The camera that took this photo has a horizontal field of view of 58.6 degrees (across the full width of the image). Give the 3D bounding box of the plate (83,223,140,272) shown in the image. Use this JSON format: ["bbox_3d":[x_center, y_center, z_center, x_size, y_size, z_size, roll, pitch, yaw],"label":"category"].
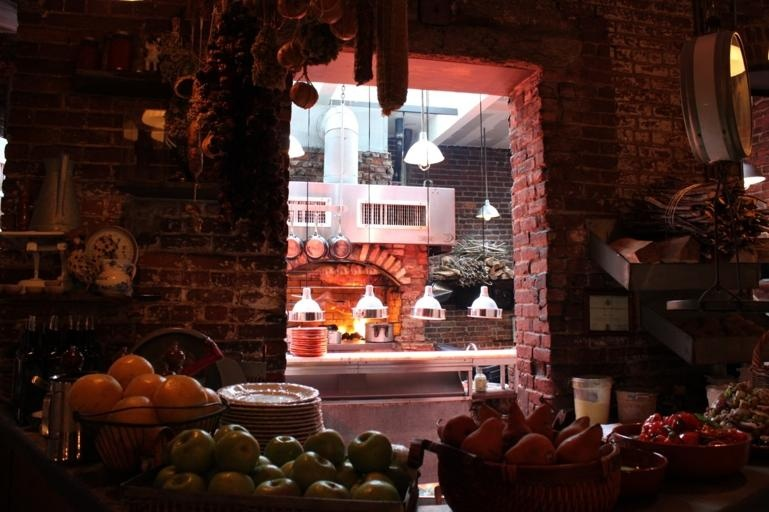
[{"bbox_3d":[-1.321,-0.035,3.290,0.263,0.243,0.042,4,-1,-22],"label":"plate"}]

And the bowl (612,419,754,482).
[{"bbox_3d":[1.632,0.879,3.711,0.528,0.378,0.503,7,-22,3],"label":"bowl"}]

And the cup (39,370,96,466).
[{"bbox_3d":[-1.003,0.524,2.176,0.137,0.317,0.266,0,2,-34],"label":"cup"}]

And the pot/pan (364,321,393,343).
[{"bbox_3d":[-0.066,0.782,7.081,0.203,0.141,0.252,0,0,2],"label":"pot/pan"}]

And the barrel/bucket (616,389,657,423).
[{"bbox_3d":[1.347,0.809,3.700,0.194,0.140,0.201,1,-3,0],"label":"barrel/bucket"}]

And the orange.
[{"bbox_3d":[-0.733,0.458,2.169,0.425,0.328,0.265,4,4,30],"label":"orange"}]

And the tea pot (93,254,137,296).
[{"bbox_3d":[-1.276,0.091,3.238,0.197,0.172,0.149,7,-20,-30],"label":"tea pot"}]

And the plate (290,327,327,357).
[{"bbox_3d":[-0.576,0.642,5.175,0.231,0.156,0.224,0,-6,9],"label":"plate"}]

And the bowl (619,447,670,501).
[{"bbox_3d":[0.828,0.693,2.187,0.143,0.133,0.234,0,-4,21],"label":"bowl"}]

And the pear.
[{"bbox_3d":[0.417,0.536,2.122,0.490,0.160,0.299,0,-3,15],"label":"pear"}]
